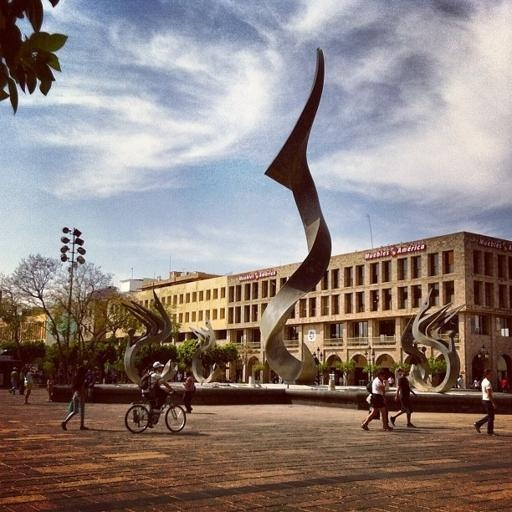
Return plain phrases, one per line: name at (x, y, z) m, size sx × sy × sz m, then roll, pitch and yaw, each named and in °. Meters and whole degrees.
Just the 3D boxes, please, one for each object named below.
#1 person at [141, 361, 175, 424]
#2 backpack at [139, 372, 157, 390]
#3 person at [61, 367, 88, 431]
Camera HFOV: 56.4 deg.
person at (-2.604, 3.663, 12.655) m, size 0.784 × 1.681 × 2.228 m, roll 2°, pitch -9°, yaw -12°
backpack at (-2.683, 3.071, 11.910) m, size 0.295 × 0.472 × 0.427 m, roll 6°, pitch 12°, yaw 27°
person at (-4.883, 3.938, 12.965) m, size 0.577 × 1.515 × 0.351 m, roll -6°, pitch -48°, yaw -13°
